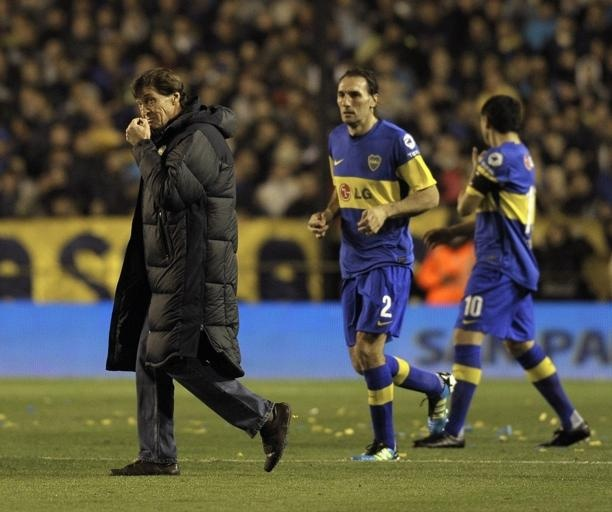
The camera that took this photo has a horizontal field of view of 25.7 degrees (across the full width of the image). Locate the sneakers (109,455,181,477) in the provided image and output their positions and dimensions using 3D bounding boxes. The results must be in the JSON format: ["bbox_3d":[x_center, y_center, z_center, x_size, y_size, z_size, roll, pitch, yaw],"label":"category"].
[{"bbox_3d":[-1.154,1.527,9.634,0.499,0.161,0.163,3,-9,3],"label":"sneakers"}]

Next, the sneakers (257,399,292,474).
[{"bbox_3d":[-0.258,1.295,9.686,0.261,0.514,0.187,6,7,-10],"label":"sneakers"}]

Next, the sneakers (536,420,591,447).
[{"bbox_3d":[2.099,1.445,10.862,0.489,0.180,0.158,-9,-8,0],"label":"sneakers"}]

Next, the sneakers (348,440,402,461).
[{"bbox_3d":[0.512,1.487,10.212,0.397,0.161,0.136,3,-11,-12],"label":"sneakers"}]

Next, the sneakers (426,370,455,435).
[{"bbox_3d":[1.104,1.234,11.067,0.245,0.529,0.188,9,3,-17],"label":"sneakers"}]

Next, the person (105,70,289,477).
[{"bbox_3d":[-0.829,0.119,9.575,1.191,2.904,0.466,0,2,-9],"label":"person"}]

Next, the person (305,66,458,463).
[{"bbox_3d":[0.535,0.052,10.287,0.882,2.991,0.606,1,3,20],"label":"person"}]

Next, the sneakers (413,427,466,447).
[{"bbox_3d":[1.060,1.473,10.859,0.428,0.156,0.145,2,-12,0],"label":"sneakers"}]
